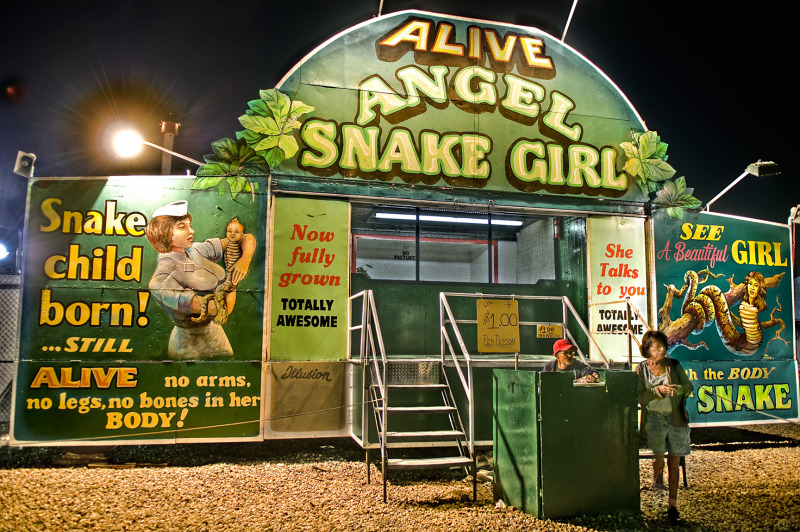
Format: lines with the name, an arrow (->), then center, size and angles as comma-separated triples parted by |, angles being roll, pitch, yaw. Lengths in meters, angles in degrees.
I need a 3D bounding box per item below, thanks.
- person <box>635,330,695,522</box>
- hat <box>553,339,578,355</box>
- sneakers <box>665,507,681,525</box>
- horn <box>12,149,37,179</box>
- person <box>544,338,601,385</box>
person -> 4.394, 2.625, 12.283 | 0.679, 2.973, 0.889 | -1, 3, -43
hat -> 3.017, 1.513, 13.672 | 0.476, 0.248, 0.359 | -19, -20, 39
sneakers -> 4.451, 4.014, 11.941 | 0.192, 0.280, 0.241 | 2, 3, 20
horn -> -7.411, -1.985, 14.500 | 0.326, 0.521, 0.321 | -1, 3, -36
person -> 3.120, 1.896, 13.487 | 0.809, 0.995, 1.091 | 0, 0, -35
